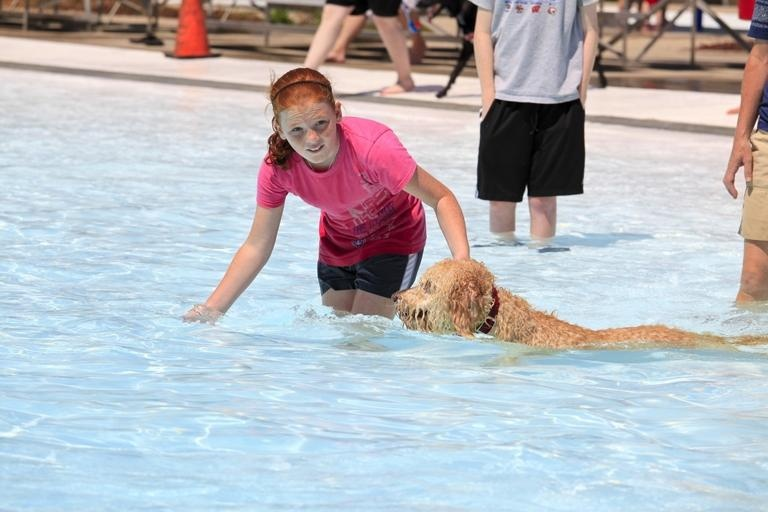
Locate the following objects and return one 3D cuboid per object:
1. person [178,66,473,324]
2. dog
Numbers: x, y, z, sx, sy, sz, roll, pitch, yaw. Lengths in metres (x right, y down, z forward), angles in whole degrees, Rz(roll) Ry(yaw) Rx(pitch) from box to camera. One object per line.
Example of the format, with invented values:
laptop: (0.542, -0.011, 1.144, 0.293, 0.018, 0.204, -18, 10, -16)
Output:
person: (-0.305, -0.332, 6.720, 1.604, 1.786, 0.997, 7, 13, -3)
dog: (0.876, 0.395, 6.335, 3.090, 0.823, 0.541, -2, 36, 12)
